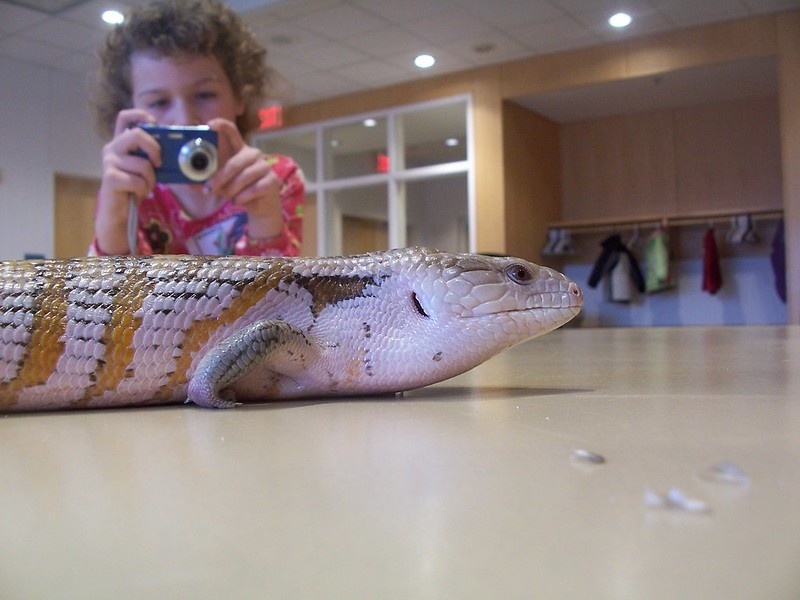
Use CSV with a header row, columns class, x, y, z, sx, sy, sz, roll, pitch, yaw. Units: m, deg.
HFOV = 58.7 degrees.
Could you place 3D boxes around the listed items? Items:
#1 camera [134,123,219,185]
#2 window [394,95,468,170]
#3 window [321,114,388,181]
class,x,y,z,sx,sy,sz,roll,pitch,yaw
camera,-0.545,-0.371,1.806,0.192,0.149,0.138,0,2,-3
window,0.210,-1.150,5.051,0.477,0.350,1.253,-1,6,-3
window,-0.335,-1.155,5.518,0.510,0.384,0.928,-1,6,-6
